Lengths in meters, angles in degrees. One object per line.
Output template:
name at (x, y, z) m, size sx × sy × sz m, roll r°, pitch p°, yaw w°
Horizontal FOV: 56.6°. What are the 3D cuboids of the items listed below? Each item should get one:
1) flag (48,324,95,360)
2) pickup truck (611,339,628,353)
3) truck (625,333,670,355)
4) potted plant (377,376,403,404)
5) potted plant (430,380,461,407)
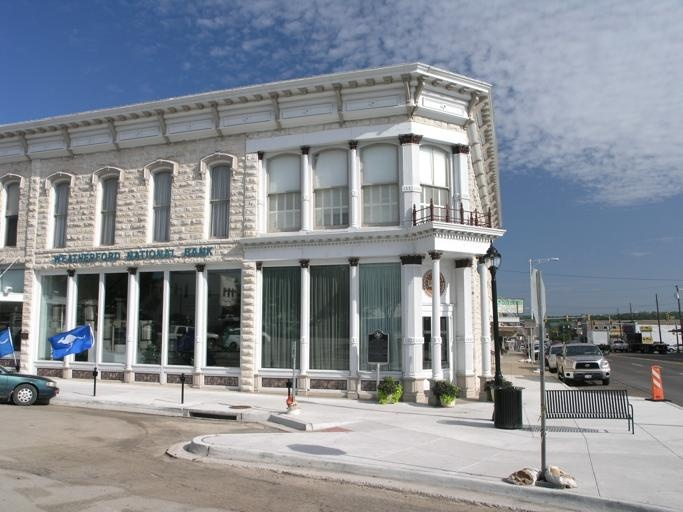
flag at (-10.881, 3.489, 25.592) m, size 1.682 × 1.161 × 0.249 m, roll -12°, pitch -17°, yaw 2°
pickup truck at (37.965, 12.613, 86.891) m, size 1.877 × 1.711 × 3.712 m, roll 0°, pitch 3°, yaw 3°
truck at (37.687, 10.661, 78.316) m, size 1.998 × 2.597 × 5.657 m, roll 4°, pitch -10°, yaw -17°
potted plant at (1.650, 4.775, 22.661) m, size 0.905 × 0.841 × 0.870 m, roll 0°, pitch -5°, yaw -15°
potted plant at (3.622, 4.733, 22.067) m, size 1.037 × 0.942 × 0.886 m, roll 5°, pitch -7°, yaw -42°
